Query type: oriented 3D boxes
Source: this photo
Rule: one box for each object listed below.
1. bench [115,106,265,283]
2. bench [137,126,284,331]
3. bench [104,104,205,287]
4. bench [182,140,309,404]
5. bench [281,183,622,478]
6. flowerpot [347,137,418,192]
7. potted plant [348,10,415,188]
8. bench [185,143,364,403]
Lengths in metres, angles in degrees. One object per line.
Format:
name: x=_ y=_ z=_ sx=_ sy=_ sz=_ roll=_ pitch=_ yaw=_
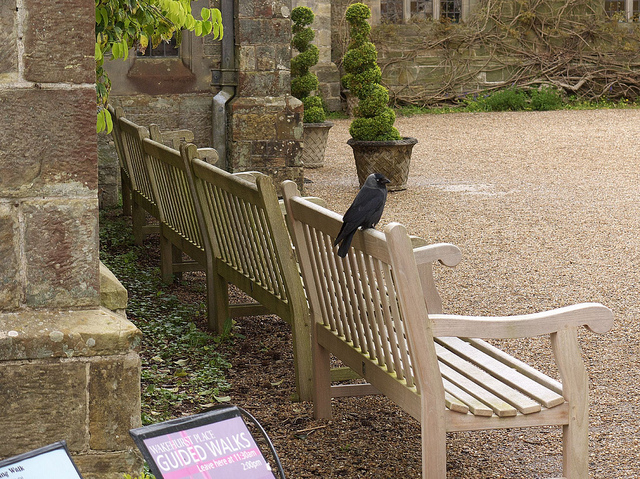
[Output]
bench: x=-1.241 y=-0.462 z=10.041 sx=0.949 sy=1.272 sz=2.376 roll=-1 pitch=6 yaw=-8
bench: x=-0.936 y=-0.241 z=8.324 sx=0.789 sy=1.213 sz=2.238 roll=-8 pitch=18 yaw=-22
bench: x=-1.255 y=-0.271 z=8.688 sx=0.454 sy=0.621 sz=1.524 roll=-2 pitch=21 yaw=-21
bench: x=-0.468 y=0.261 z=6.969 sx=0.693 sy=0.941 sz=1.663 roll=-3 pitch=15 yaw=-15
bench: x=0.725 y=0.536 z=6.427 sx=0.729 sy=0.949 sz=1.577 roll=-5 pitch=9 yaw=-16
flowerpot: x=0.688 y=-0.744 z=11.824 sx=0.784 sy=0.442 sz=0.767 roll=-9 pitch=4 yaw=-31
potted plant: x=0.622 y=-1.468 z=11.841 sx=0.755 sy=1.903 sz=0.670 roll=-3 pitch=7 yaw=-1
bench: x=-0.319 y=0.242 z=6.859 sx=0.793 sy=1.017 sz=1.675 roll=-3 pitch=10 yaw=-16
